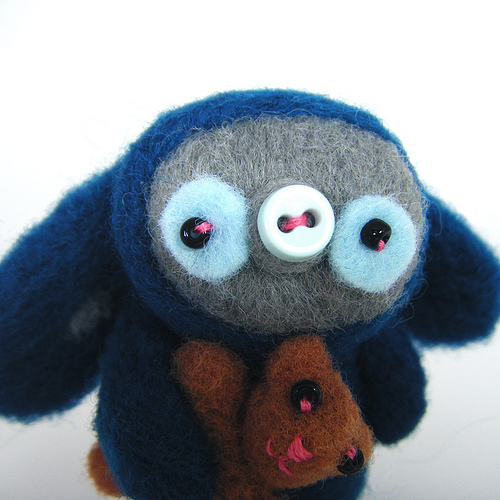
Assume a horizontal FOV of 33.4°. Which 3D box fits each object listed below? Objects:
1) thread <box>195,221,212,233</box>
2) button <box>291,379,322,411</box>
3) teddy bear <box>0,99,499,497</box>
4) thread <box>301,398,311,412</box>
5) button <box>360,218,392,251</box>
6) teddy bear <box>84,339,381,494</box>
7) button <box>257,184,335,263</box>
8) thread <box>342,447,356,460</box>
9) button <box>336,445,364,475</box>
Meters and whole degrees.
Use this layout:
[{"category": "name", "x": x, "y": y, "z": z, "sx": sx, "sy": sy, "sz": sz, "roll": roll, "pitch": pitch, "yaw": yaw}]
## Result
[{"category": "thread", "x": -0.056, "y": -0.027, "z": 1.011, "sx": 0.017, "sy": 0.009, "sz": 0.014, "roll": -1, "pitch": -13, "yaw": -6}, {"category": "button", "x": 0.073, "y": 0.189, "z": 1.069, "sx": 0.049, "sy": 0.033, "sz": 0.009, "roll": -5, "pitch": -14, "yaw": 2}, {"category": "teddy bear", "x": -0.016, "y": 0.064, "z": 1.085, "sx": 0.826, "sy": 0.486, "sz": 0.359, "roll": 1, "pitch": 0, "yaw": -5}, {"category": "thread", "x": 0.072, "y": 0.201, "z": 1.060, "sx": 0.013, "sy": 0.013, "sz": 0.005, "roll": -2, "pitch": 4, "yaw": -3}, {"category": "button", "x": 0.157, "y": -0.019, "z": 1.027, "sx": 0.040, "sy": 0.038, "sz": 0.016, "roll": 19, "pitch": -18, "yaw": -9}, {"category": "teddy bear", "x": -0.027, "y": 0.260, "z": 1.115, "sx": 0.280, "sy": 0.137, "sz": 0.266, "roll": -20, "pitch": -28, "yaw": 29}, {"category": "button", "x": 0.064, "y": -0.033, "z": 0.980, "sx": 0.120, "sy": 0.082, "sz": 0.025, "roll": -6, "pitch": 6, "yaw": -10}, {"category": "thread", "x": 0.130, "y": 0.262, "z": 1.069, "sx": 0.016, "sy": 0.014, "sz": 0.006, "roll": -4, "pitch": 4, "yaw": 1}, {"category": "button", "x": 0.129, "y": 0.271, "z": 1.079, "sx": 0.040, "sy": 0.034, "sz": 0.038, "roll": -4, "pitch": -1, "yaw": 2}]
